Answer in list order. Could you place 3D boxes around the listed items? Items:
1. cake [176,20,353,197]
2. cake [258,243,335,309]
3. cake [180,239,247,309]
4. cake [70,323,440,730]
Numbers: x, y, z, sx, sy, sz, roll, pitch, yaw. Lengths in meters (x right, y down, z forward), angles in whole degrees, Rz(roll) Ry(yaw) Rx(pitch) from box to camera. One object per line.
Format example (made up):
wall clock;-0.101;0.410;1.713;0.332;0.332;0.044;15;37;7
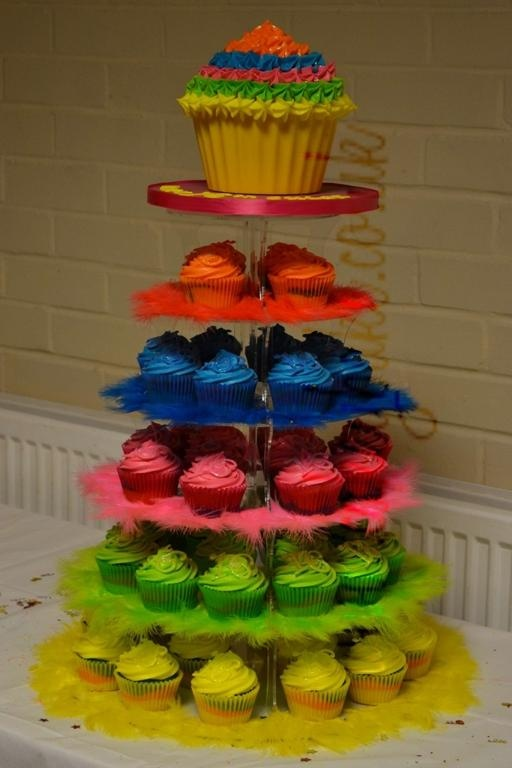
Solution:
cake;0.015;-0.391;1.103;0.227;0.180;0.229;-5;17;-20
cake;0.064;-0.160;1.132;0.101;0.072;0.109;2;13;-4
cake;-0.059;-0.164;1.159;0.108;0.080;0.106;1;11;3
cake;-0.003;0.191;1.438;0.758;0.551;0.674;-1;9;-2
